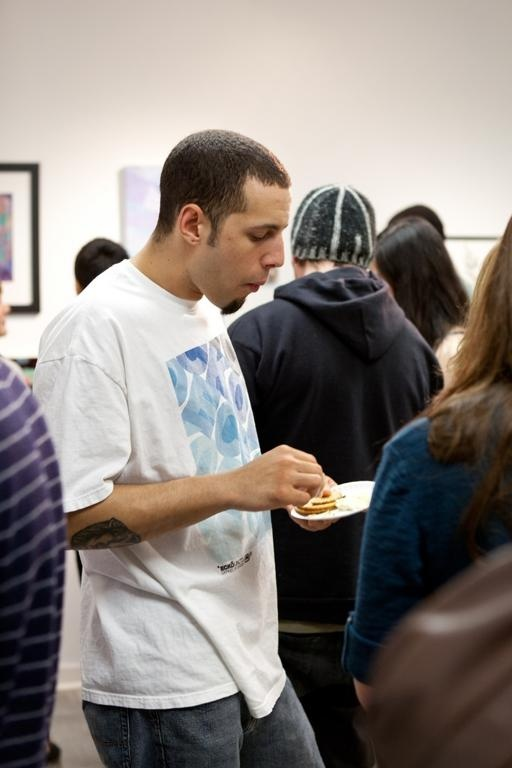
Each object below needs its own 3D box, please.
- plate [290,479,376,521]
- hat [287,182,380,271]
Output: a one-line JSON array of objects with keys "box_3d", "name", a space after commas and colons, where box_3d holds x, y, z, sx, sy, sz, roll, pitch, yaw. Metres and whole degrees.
[{"box_3d": [0.135, 0.209, 1.296, 0.133, 0.018, 0.129, -22, -4, 18], "name": "plate"}, {"box_3d": [0.182, -0.394, 1.792, 0.210, 0.203, 0.209, -4, 21, -23], "name": "hat"}]
